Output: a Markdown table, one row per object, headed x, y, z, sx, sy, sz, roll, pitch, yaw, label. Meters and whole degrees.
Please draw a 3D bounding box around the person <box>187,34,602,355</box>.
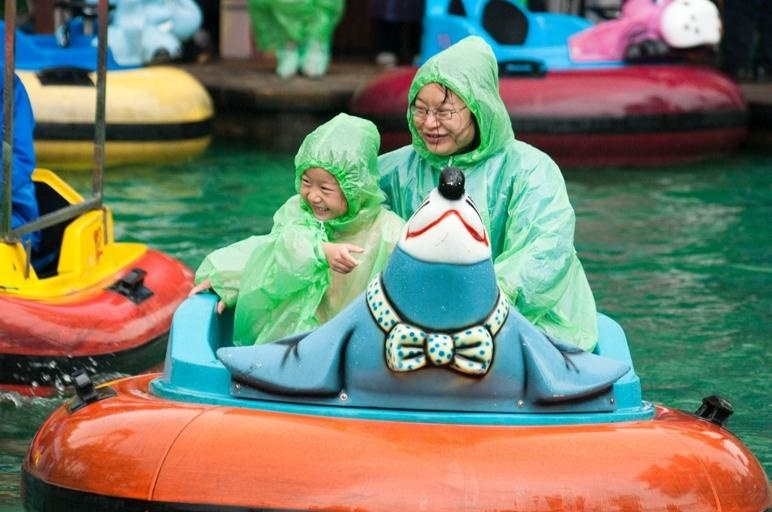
| x | y | z | sx | sy | sz | roll | pitch | yaw | label |
| --- | --- | --- | --- | --- | --- | --- | --- | --- | --- |
| 0.286 | -0.270 | 4.969 | 1.654 | 1.281 | 0.858 | 10 | 17 | 42 | person |
